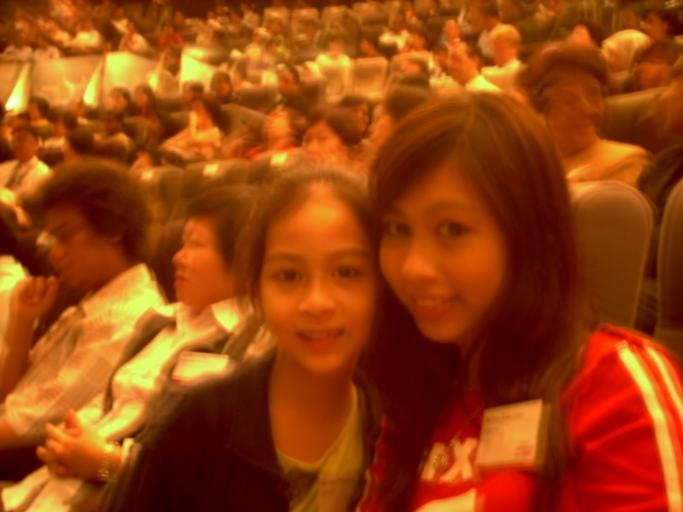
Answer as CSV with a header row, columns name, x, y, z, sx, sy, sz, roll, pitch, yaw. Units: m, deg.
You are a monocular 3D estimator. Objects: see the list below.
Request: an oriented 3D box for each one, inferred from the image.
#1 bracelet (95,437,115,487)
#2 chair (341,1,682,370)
name,x,y,z,sx,sy,sz,roll,pitch,yaw
bracelet,-1.096,0.969,2.753,0.097,0.175,0.051,-1,6,13
chair,0.746,-0.246,2.501,1.140,1.427,0.998,-1,2,7
